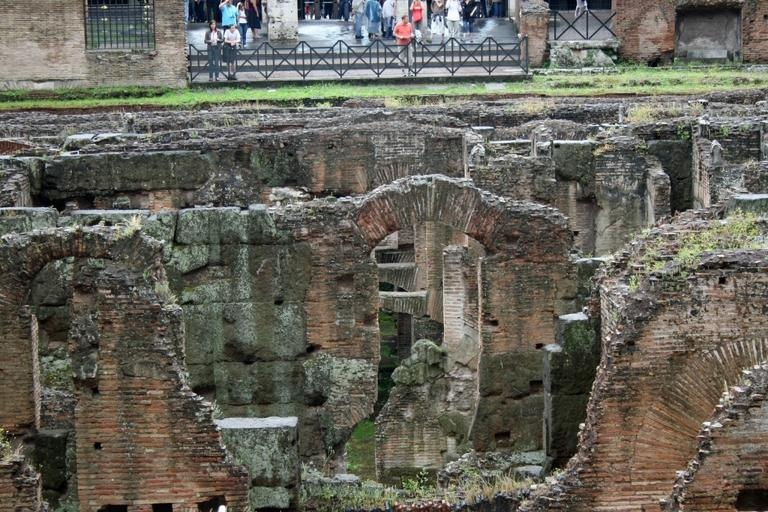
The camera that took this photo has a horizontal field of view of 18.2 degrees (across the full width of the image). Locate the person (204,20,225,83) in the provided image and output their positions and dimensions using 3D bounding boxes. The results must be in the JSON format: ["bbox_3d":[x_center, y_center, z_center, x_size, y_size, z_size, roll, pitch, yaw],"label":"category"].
[{"bbox_3d":[-4.145,-5.052,59.216,0.426,1.474,1.278,0,0,-5],"label":"person"}]

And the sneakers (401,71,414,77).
[{"bbox_3d":[0.619,-4.517,59.174,0.118,0.150,0.354,-1,1,-19],"label":"sneakers"}]

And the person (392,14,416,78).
[{"bbox_3d":[0.549,-5.257,59.692,0.483,1.464,0.993,0,0,-6],"label":"person"}]
